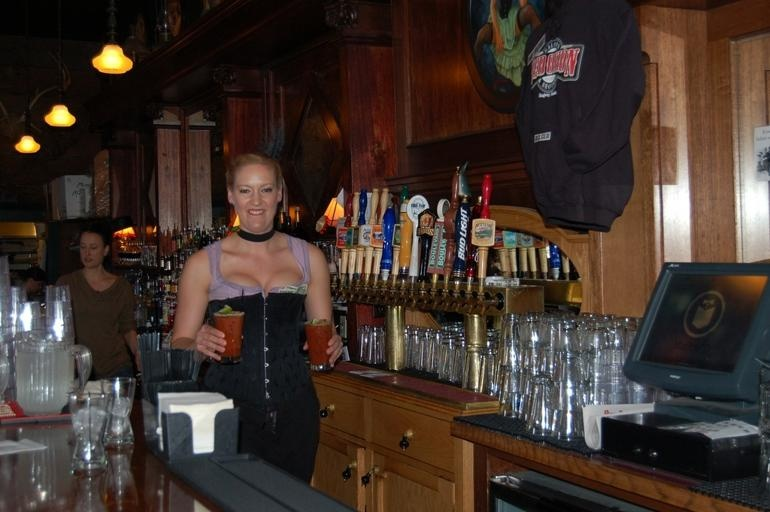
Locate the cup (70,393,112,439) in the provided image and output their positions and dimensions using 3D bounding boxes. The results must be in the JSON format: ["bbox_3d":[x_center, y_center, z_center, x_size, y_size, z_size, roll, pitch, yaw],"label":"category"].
[{"bbox_3d":[-0.983,0.515,2.147,0.148,0.172,0.154,-1,-8,0],"label":"cup"}]

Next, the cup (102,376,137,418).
[{"bbox_3d":[-0.928,0.503,2.335,0.127,0.145,0.132,-1,-5,0],"label":"cup"}]

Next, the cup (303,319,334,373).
[{"bbox_3d":[-0.294,0.392,2.877,0.120,0.232,0.157,0,-2,-6],"label":"cup"}]

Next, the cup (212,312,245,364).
[{"bbox_3d":[-0.622,0.311,2.557,0.105,0.208,0.074,1,-2,-14],"label":"cup"}]

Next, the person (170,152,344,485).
[{"bbox_3d":[-0.589,0.278,2.975,0.732,1.500,0.314,1,-2,-18],"label":"person"}]
